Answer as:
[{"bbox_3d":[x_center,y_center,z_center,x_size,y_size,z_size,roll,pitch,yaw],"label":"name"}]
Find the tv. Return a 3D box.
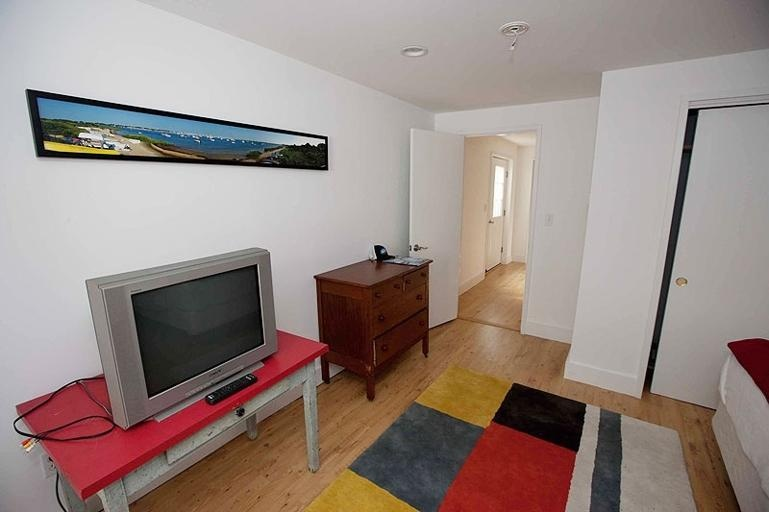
[{"bbox_3d":[-1.324,0.477,3.284,0.605,0.934,1.115,10,19,43],"label":"tv"}]

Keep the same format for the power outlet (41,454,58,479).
[{"bbox_3d":[-2.109,1.321,3.047,0.160,0.150,0.038,24,18,24],"label":"power outlet"}]

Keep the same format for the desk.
[{"bbox_3d":[-1.395,1.058,3.090,0.699,0.794,1.068,11,21,32],"label":"desk"}]

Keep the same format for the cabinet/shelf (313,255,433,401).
[{"bbox_3d":[-0.078,0.600,4.596,0.664,0.970,1.006,8,17,35],"label":"cabinet/shelf"}]
